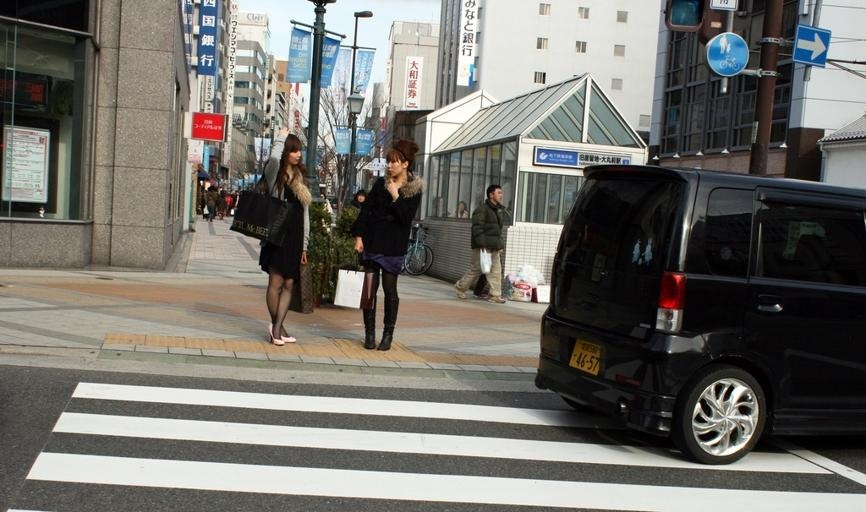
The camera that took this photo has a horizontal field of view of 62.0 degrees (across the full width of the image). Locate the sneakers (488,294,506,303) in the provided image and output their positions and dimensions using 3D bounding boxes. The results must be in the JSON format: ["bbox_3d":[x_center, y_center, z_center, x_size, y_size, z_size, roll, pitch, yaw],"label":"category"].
[{"bbox_3d":[1.432,0.966,15.949,0.152,0.164,0.378,1,-3,-43],"label":"sneakers"}]

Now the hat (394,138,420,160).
[{"bbox_3d":[-0.360,-1.411,9.723,0.261,0.230,0.301,5,-12,-43],"label":"hat"}]

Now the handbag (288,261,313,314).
[{"bbox_3d":[-1.969,0.467,10.743,0.242,0.795,0.790,8,-10,-15],"label":"handbag"}]

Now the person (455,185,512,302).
[{"bbox_3d":[1.171,-0.277,15.788,1.020,2.500,0.732,5,8,0],"label":"person"}]

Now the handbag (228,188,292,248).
[{"bbox_3d":[-2.275,-0.507,9.532,0.780,0.660,0.371,6,8,8],"label":"handbag"}]

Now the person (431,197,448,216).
[{"bbox_3d":[0.230,-1.461,21.622,0.557,0.554,1.038,6,-1,-6],"label":"person"}]

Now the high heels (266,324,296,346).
[{"bbox_3d":[-2.141,1.087,9.877,0.240,0.171,0.397,1,0,-43],"label":"high heels"}]

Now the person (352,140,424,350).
[{"bbox_3d":[-0.658,-0.152,9.980,0.874,2.918,0.704,4,8,-7],"label":"person"}]
